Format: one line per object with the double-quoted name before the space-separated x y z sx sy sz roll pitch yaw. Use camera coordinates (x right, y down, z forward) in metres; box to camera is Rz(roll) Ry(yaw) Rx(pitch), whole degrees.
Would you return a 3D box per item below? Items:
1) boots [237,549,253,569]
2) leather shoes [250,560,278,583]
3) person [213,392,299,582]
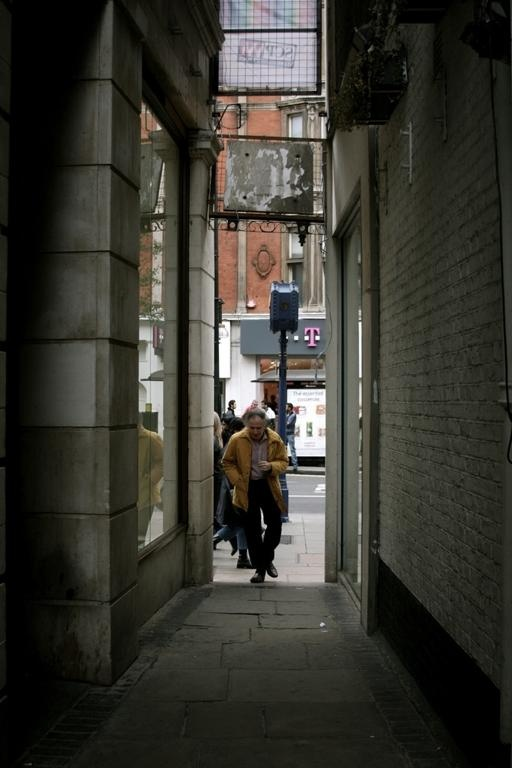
"boots" -0.145 2.132 8.911 0.085 0.307 0.302 1 1 15
"leather shoes" 0.110 1.991 7.727 0.114 0.277 0.464 -7 -17 17
"person" -0.023 1.155 7.417 0.670 1.765 0.580 2 -4 -15
